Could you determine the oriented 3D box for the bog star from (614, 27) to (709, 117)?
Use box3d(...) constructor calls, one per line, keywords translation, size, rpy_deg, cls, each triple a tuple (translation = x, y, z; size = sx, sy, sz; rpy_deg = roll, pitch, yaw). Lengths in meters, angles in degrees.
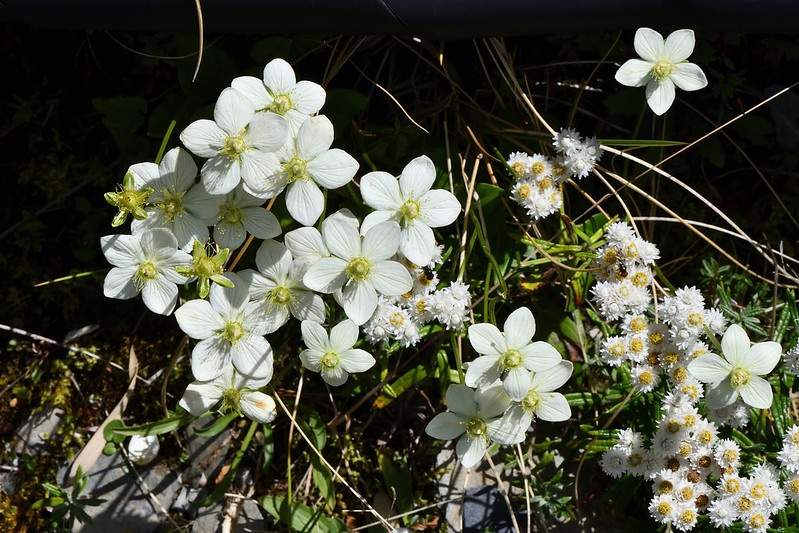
box3d(translation=(1.025, -0.793, 2.726), size=(0.328, 0.358, 0.127), rpy_deg=(26, 19, -2), cls="bog star")
